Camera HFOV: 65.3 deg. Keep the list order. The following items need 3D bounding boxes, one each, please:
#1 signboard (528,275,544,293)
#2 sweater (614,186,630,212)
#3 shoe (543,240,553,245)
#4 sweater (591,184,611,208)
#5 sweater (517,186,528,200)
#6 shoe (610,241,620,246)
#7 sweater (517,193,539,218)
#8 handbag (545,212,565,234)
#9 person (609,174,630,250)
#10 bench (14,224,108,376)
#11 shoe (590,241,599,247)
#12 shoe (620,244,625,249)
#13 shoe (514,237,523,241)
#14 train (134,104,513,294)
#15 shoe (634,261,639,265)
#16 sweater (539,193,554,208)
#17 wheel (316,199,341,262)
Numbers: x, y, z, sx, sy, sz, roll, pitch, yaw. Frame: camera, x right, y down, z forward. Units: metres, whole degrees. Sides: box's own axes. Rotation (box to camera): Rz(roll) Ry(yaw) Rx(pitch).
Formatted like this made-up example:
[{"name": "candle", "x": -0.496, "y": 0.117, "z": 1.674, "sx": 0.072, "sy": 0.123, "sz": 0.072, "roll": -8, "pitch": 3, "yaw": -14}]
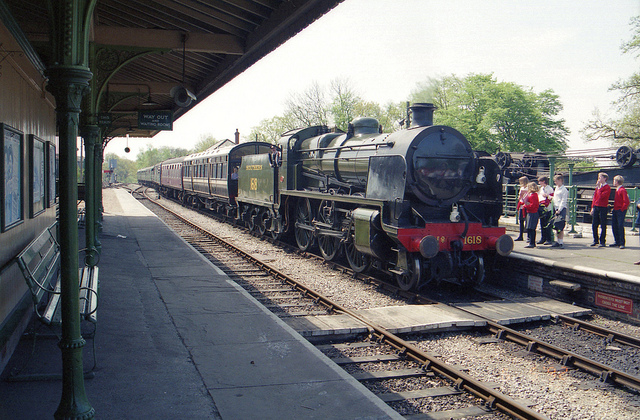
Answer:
[{"name": "signboard", "x": 4.775, "y": 1.635, "z": 11.021, "sx": 0.038, "sy": 0.331, "sz": 0.368, "roll": 0, "pitch": 10, "yaw": -27}, {"name": "sweater", "x": 7.753, "y": -0.297, "z": 12.827, "sx": 0.308, "sy": 0.610, "sz": 0.335, "roll": 9, "pitch": 11, "yaw": 29}, {"name": "shoe", "x": 6.327, "y": 0.896, "z": 13.847, "sx": 0.233, "sy": 0.153, "sz": 0.421, "roll": 8, "pitch": 10, "yaw": 24}, {"name": "sweater", "x": 7.457, "y": -0.362, "z": 13.222, "sx": 0.352, "sy": 0.629, "sz": 0.311, "roll": 9, "pitch": 11, "yaw": 29}, {"name": "sweater", "x": 5.800, "y": -0.485, "z": 14.310, "sx": 0.072, "sy": 0.279, "sz": 0.299, "roll": 25, "pitch": 26, "yaw": -7}, {"name": "shoe", "x": 7.952, "y": 0.928, "z": 13.489, "sx": 0.160, "sy": 0.151, "sz": 0.505, "roll": 8, "pitch": 10, "yaw": 21}, {"name": "sweater", "x": 5.714, "y": -0.204, "z": 13.701, "sx": 0.554, "sy": 0.600, "sz": 0.428, "roll": 3, "pitch": 6, "yaw": 29}, {"name": "handbag", "x": 6.440, "y": 0.328, "z": 13.537, "sx": 0.285, "sy": 0.590, "sz": 0.505, "roll": 3, "pitch": 9, "yaw": -7}, {"name": "person", "x": 7.990, "y": 0.074, "z": 13.316, "sx": 0.530, "sy": 1.921, "sz": 1.285, "roll": 10, "pitch": 11, "yaw": 31}, {"name": "bench", "x": -3.714, "y": 1.329, "z": 7.094, "sx": 0.653, "sy": 0.811, "sz": 1.859, "roll": 1, "pitch": 16, "yaw": -18}, {"name": "shoe", "x": 7.465, "y": 0.909, "z": 13.570, "sx": 0.199, "sy": 0.156, "sz": 0.303, "roll": 9, "pitch": 10, "yaw": 27}, {"name": "shoe", "x": 7.931, "y": 0.971, "z": 13.103, "sx": 0.084, "sy": 0.035, "sz": 0.114, "roll": 0, "pitch": 11, "yaw": 15}, {"name": "shoe", "x": 5.913, "y": 0.871, "z": 14.846, "sx": 0.234, "sy": 0.113, "sz": 0.379, "roll": 9, "pitch": 10, "yaw": 26}, {"name": "train", "x": 0.153, "y": -0.594, "z": 15.816, "sx": 2.821, "sy": 4.674, "sz": 12.930, "roll": -1, "pitch": 10, "yaw": -28}, {"name": "shoe", "x": 7.072, "y": 1.202, "z": 11.138, "sx": 0.143, "sy": 0.056, "sz": 0.048, "roll": -1, "pitch": -2, "yaw": -9}, {"name": "sweater", "x": 6.306, "y": -0.280, "z": 13.785, "sx": 0.430, "sy": 0.380, "sz": 0.221, "roll": -2, "pitch": 11, "yaw": -34}, {"name": "wheel", "x": 0.271, "y": 0.595, "z": 13.547, "sx": 0.706, "sy": 1.655, "sz": 0.645, "roll": 11, "pitch": -2, "yaw": 0}]
